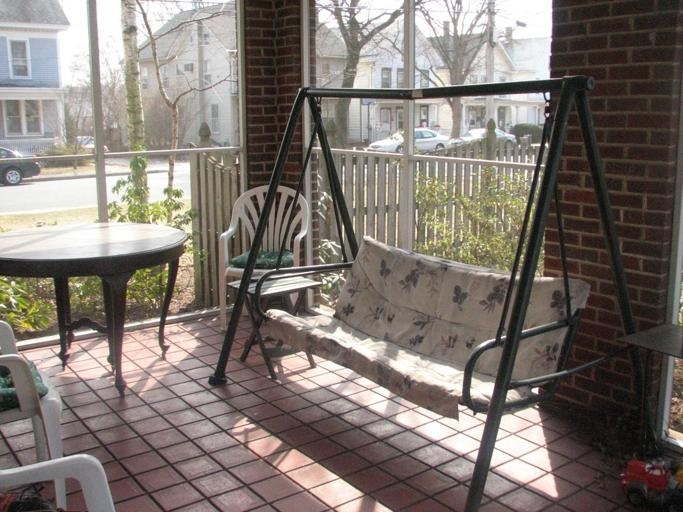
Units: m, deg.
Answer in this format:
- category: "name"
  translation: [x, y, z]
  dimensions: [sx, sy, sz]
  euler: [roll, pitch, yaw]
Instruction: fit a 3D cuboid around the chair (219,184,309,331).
- category: "chair"
  translation: [-0.686, -0.003, 4.994]
  dimensions: [0.786, 1.188, 0.955]
  euler: [2, 11, 3]
